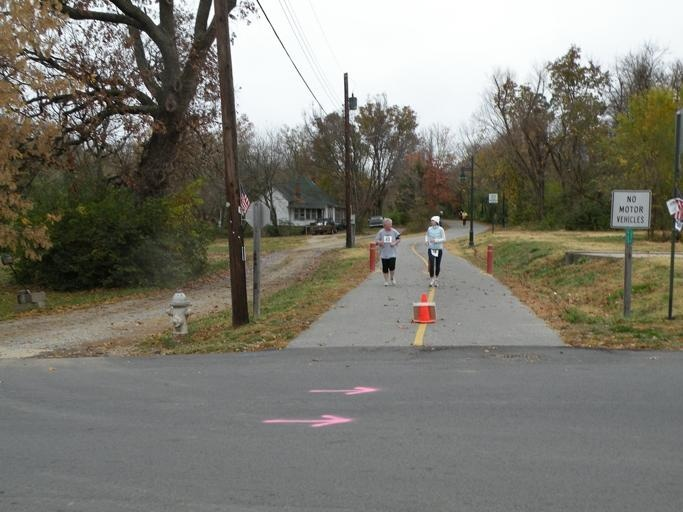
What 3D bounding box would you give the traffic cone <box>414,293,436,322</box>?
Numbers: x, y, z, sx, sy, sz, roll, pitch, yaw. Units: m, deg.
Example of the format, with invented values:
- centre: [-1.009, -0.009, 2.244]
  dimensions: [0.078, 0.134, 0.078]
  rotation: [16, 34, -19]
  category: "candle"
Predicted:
- centre: [1.797, 1.128, 15.778]
  dimensions: [0.481, 0.563, 0.551]
  rotation: [-1, 8, 5]
  category: "traffic cone"
